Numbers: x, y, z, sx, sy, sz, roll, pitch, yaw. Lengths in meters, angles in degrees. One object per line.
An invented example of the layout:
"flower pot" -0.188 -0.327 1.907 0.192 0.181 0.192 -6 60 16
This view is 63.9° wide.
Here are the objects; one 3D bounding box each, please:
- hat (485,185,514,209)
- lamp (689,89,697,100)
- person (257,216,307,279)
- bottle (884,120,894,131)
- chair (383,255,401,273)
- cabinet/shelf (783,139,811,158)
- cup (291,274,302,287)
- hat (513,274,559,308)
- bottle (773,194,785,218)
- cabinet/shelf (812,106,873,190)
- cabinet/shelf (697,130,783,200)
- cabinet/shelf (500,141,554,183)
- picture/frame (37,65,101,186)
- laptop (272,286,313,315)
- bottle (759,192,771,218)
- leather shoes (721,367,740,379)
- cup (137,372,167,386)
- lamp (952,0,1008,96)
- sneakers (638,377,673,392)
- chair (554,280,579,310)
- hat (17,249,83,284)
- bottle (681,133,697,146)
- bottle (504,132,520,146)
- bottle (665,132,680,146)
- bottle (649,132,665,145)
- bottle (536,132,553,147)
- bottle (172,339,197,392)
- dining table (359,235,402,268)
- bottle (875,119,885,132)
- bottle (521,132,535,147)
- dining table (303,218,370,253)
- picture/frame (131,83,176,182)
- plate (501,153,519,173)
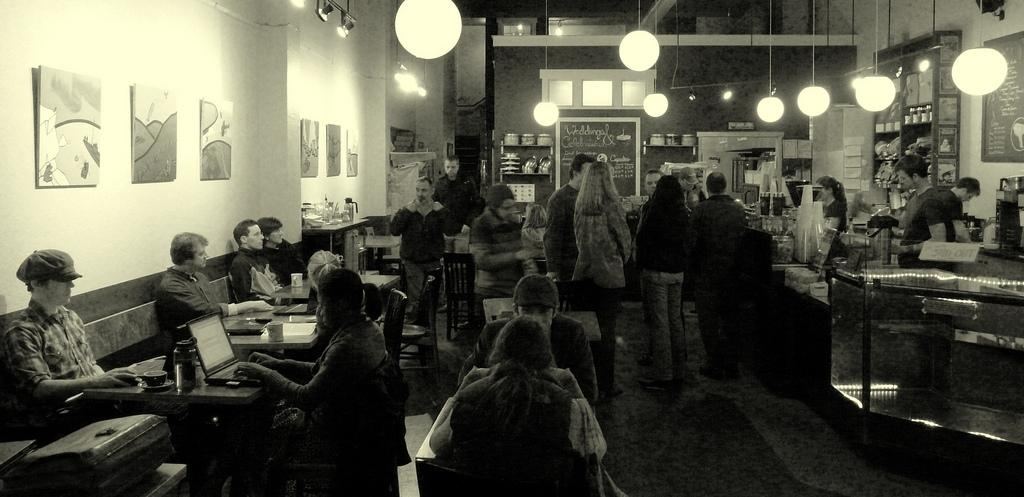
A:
"hat" -0.173 -0.628 9.750 0.330 0.274 0.241 -21 13 -22
"lamp" 3.676 -3.170 16.776 0.139 0.226 0.342 -1 8 16
"person" -3.413 -0.015 12.019 0.479 0.558 0.798 -8 -38 2
"bottle" 6.837 -2.243 14.870 0.153 0.170 0.190 2 -2 -18
"chair" -2.165 0.267 14.717 0.415 0.331 0.283 0 10 0
"cabinet/shelf" 5.865 -2.069 17.041 0.812 0.467 0.375 0 6 4
"cup" -2.908 0.419 11.124 0.182 0.155 0.166 -1 -3 -1
"hat" 0.294 0.400 8.608 0.558 0.309 0.688 -1 10 3
"bottle" 3.660 -0.607 11.295 0.161 0.251 0.289 -1 9 17
"cabinet/shelf" 6.750 -1.862 16.649 1.242 1.474 1.219 5 2 26
"cabinet/shelf" 3.883 -1.469 13.961 1.220 0.977 0.766 -2 3 1
"cabinet/shelf" 0.311 -1.775 16.578 1.148 0.642 0.340 0 5 0
"picture/frame" -5.209 -1.425 9.576 0.156 1.367 0.868 1 9 26
"laptop" -2.857 0.672 10.783 0.377 0.129 0.620 0 5 -3
"bottle" 3.500 -0.619 11.362 0.136 0.252 0.160 0 9 19
"leather shoes" 2.913 1.655 10.931 0.284 0.177 0.141 -1 -2 9
"cup" -3.719 1.351 8.556 0.187 0.075 0.188 1 -1 0
"lamp" 5.785 -2.222 10.165 0.571 0.560 0.400 1 9 25
"sneakers" 1.884 1.784 10.712 0.496 0.173 0.155 4 1 16
"chair" 0.649 0.548 9.751 0.388 0.387 0.312 1 15 9
"hat" -5.018 0.180 8.863 0.745 0.292 0.491 -2 8 16
"bottle" 3.584 -2.237 16.730 0.278 0.174 0.266 1 -1 0
"bottle" -0.030 -2.238 16.651 0.337 0.249 0.276 -3 8 -1
"bottle" 3.264 -2.243 16.676 0.278 0.219 0.248 0 0 -6
"bottle" 2.966 -2.251 16.734 0.274 0.164 0.251 -1 5 0
"bottle" 0.647 -2.210 16.535 0.302 0.189 0.275 2 2 0
"bottle" -3.451 1.211 8.551 0.306 0.509 0.267 -4 9 -3
"dining table" -2.347 0.044 14.634 0.765 0.608 0.698 1 6 1
"bottle" 6.768 -2.275 15.129 0.202 0.226 0.199 0 0 -22
"bottle" 0.315 -2.220 16.542 0.261 0.184 0.255 1 -1 0
"dining table" -3.020 -0.207 13.879 0.529 0.522 1.504 -1 8 12
"picture/frame" -4.653 -1.490 10.591 0.173 1.230 0.778 -1 9 16
"plate" -0.028 -1.734 16.492 0.429 0.330 0.391 0 2 0
